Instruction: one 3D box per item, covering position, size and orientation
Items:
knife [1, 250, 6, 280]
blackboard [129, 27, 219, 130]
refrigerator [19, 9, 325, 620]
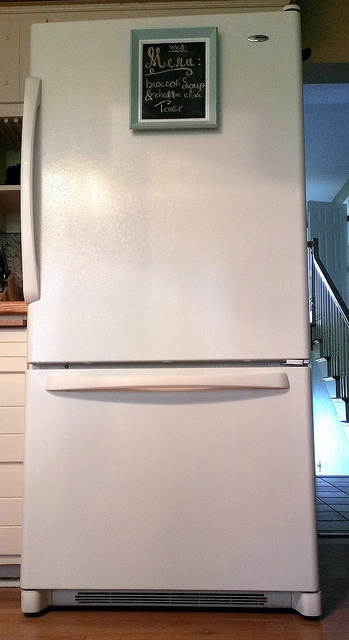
[{"bbox_3d":[-0.666,-0.213,2.145,0.018,0.107,0.048,-2,5,-18],"label":"knife"},{"bbox_3d":[0.003,-0.621,1.442,0.239,0.283,0.018,-1,-5,5],"label":"blackboard"},{"bbox_3d":[-0.023,-0.036,1.421,0.759,1.533,0.236,0,4,3],"label":"refrigerator"}]
